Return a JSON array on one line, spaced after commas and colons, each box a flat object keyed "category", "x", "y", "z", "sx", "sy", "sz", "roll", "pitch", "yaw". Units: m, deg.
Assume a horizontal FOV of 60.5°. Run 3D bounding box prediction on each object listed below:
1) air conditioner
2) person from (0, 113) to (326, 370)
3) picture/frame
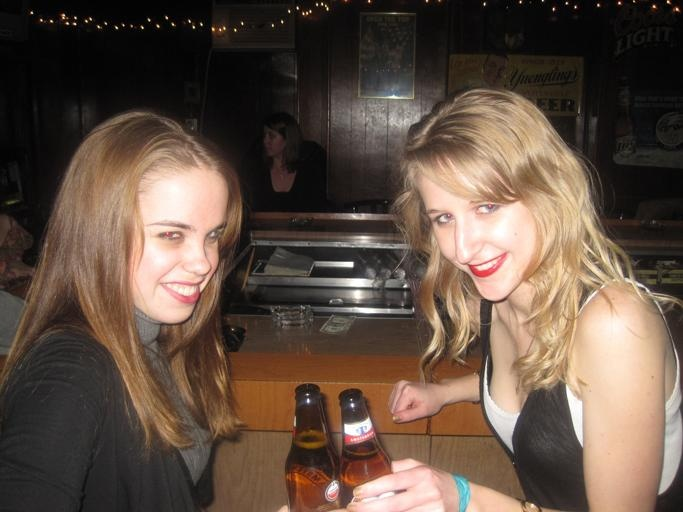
[{"category": "air conditioner", "x": -0.815, "y": -2.163, "z": 5.787, "sx": 0.848, "sy": 0.408, "sz": 0.544, "roll": 0, "pitch": 1, "yaw": 0}, {"category": "person", "x": -0.435, "y": 0.025, "z": 1.898, "sx": 0.750, "sy": 0.994, "sz": 0.787, "roll": 1, "pitch": 6, "yaw": -3}, {"category": "picture/frame", "x": 0.432, "y": -2.026, "z": 5.750, "sx": 0.861, "sy": 1.051, "sz": 0.039, "roll": 0, "pitch": 22, "yaw": -2}]
